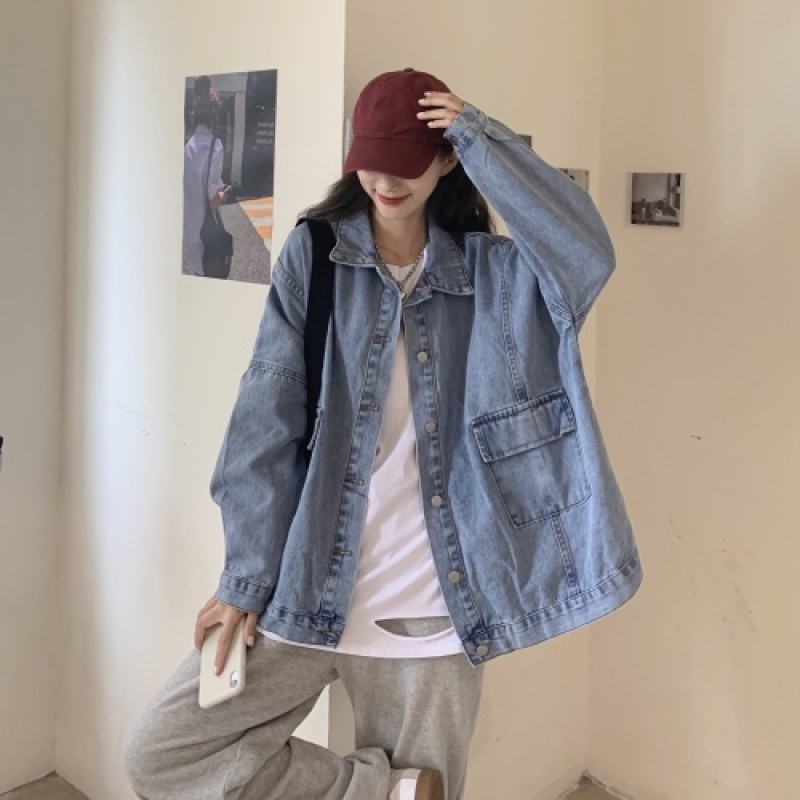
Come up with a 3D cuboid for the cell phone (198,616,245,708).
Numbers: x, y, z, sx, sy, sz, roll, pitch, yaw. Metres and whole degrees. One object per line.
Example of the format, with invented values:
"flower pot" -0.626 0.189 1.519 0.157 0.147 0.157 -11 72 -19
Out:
"cell phone" -0.332 0.507 1.688 0.093 0.146 0.103 1 2 -3
